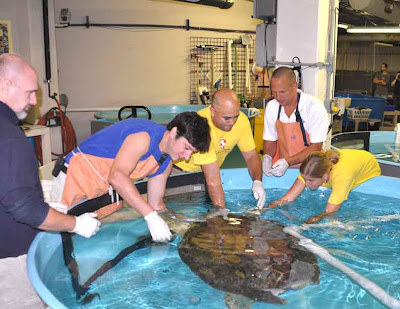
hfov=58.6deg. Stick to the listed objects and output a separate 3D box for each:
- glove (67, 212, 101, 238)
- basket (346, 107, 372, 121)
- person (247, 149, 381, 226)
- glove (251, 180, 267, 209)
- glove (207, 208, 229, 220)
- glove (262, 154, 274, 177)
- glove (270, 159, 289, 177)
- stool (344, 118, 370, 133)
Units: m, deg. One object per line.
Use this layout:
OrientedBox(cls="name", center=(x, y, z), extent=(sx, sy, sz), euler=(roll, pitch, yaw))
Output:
OrientedBox(cls="glove", center=(-0.738, 0.446, 2.255), extent=(0.176, 0.163, 0.069), euler=(22, -24, -27))
OrientedBox(cls="basket", center=(3.130, -0.791, 7.072), extent=(0.410, 0.257, 0.354), euler=(-1, 10, -1))
OrientedBox(cls="person", center=(1.172, 0.227, 2.998), extent=(0.836, 0.537, 0.283), euler=(-5, 11, -26))
OrientedBox(cls="glove", center=(0.502, 0.359, 3.078), extent=(0.074, 0.093, 0.267), euler=(2, 27, 11))
OrientedBox(cls="glove", center=(0.146, 0.484, 2.880), extent=(0.103, 0.033, 0.077), euler=(-15, 21, 3))
OrientedBox(cls="glove", center=(0.653, 0.107, 3.461), extent=(0.054, 0.179, 0.134), euler=(-8, -19, 22))
OrientedBox(cls="glove", center=(0.732, 0.119, 3.387), extent=(0.129, 0.178, 0.087), euler=(22, 30, -33))
OrientedBox(cls="stool", center=(3.602, -0.686, 8.417), extent=(0.539, 0.455, 0.489), euler=(-4, 8, -18))
